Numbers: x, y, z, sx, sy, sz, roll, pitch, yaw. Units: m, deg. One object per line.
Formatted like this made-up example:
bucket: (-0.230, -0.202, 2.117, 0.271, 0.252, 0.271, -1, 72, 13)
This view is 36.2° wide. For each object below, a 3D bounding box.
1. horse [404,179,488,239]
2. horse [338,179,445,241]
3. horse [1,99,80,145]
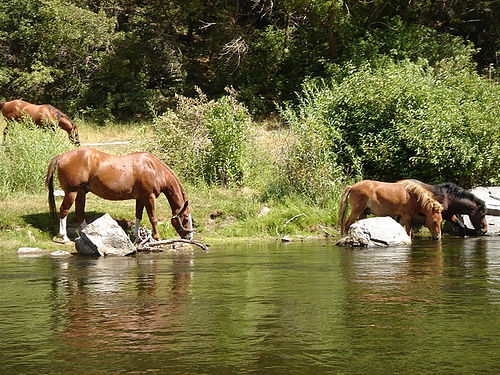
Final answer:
horse: (5.361, 0.664, 21.766, 0.792, 1.559, 3.209, -4, 9, -38)
horse: (3.704, 0.618, 20.084, 3.043, 1.575, 0.782, 2, -7, 39)
horse: (-7.416, -2.385, 26.616, 2.577, 1.623, 3.057, -2, -1, -9)
